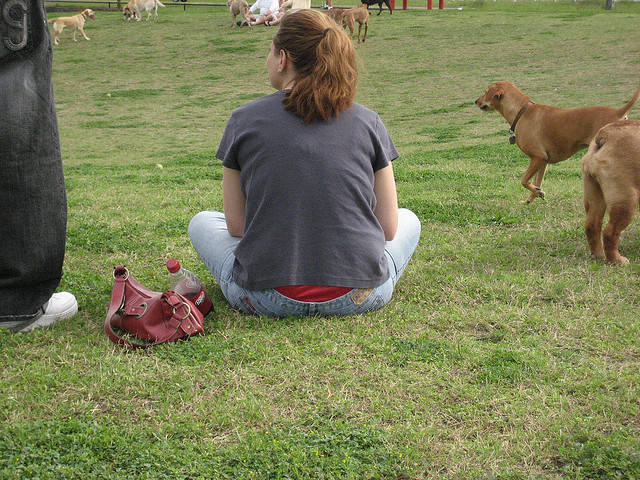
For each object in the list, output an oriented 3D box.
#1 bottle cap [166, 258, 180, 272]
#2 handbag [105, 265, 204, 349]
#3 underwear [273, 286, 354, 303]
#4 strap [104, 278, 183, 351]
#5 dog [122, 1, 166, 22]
[{"bbox_3d":[-1.052,0.176,5.059,0.084,0.054,0.084,-27,46,-24],"label":"bottle cap"},{"bbox_3d":[-1.182,0.449,4.887,0.655,0.470,0.640,10,14,33],"label":"handbag"},{"bbox_3d":[-0.044,0.377,4.861,0.511,0.136,0.027,-2,18,-6],"label":"underwear"},{"bbox_3d":[-1.292,0.514,4.773,0.337,0.200,0.609,-7,55,-20],"label":"strap"},{"bbox_3d":[-7.894,-10.021,31.074,1.483,0.806,2.299,-4,20,-13],"label":"dog"}]
